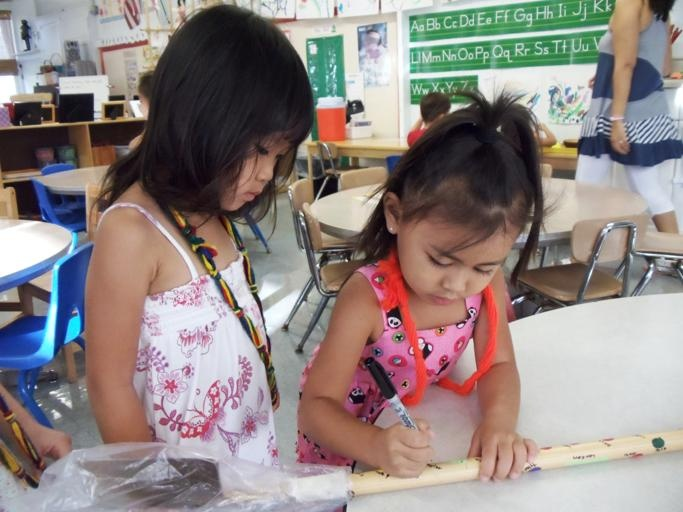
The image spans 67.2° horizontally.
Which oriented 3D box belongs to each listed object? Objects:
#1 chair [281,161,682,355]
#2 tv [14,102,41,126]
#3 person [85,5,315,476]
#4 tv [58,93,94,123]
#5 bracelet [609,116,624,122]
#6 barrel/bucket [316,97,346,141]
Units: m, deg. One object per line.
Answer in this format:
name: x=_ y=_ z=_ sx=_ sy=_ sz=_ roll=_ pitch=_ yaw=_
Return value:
chair: x=0.483 y=0.003 z=1.604 sx=0.753 sy=0.382 sz=0.611 roll=-2 pitch=38 yaw=3
tv: x=-2.967 y=-1.327 z=4.828 sx=0.259 sy=0.204 sz=0.329 roll=-10 pitch=17 yaw=-28
person: x=-0.287 y=0.029 z=1.031 sx=0.460 sy=0.989 sz=0.240 roll=-11 pitch=17 yaw=-33
tv: x=-2.608 y=-1.434 z=5.024 sx=0.247 sy=0.258 sz=0.089 roll=-13 pitch=30 yaw=-34
bracelet: x=1.506 y=-0.741 z=2.797 sx=0.066 sy=0.029 sz=0.069 roll=7 pitch=17 yaw=28
barrel/bucket: x=-0.078 y=-1.421 z=5.311 sx=0.373 sy=0.460 sz=0.378 roll=-1 pitch=18 yaw=0
